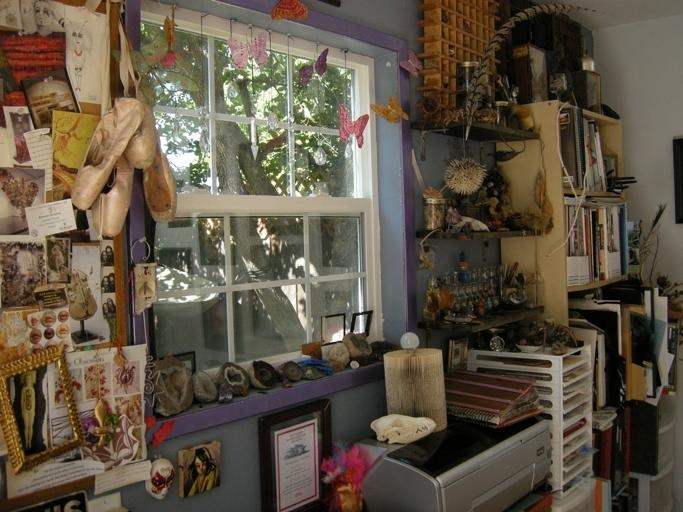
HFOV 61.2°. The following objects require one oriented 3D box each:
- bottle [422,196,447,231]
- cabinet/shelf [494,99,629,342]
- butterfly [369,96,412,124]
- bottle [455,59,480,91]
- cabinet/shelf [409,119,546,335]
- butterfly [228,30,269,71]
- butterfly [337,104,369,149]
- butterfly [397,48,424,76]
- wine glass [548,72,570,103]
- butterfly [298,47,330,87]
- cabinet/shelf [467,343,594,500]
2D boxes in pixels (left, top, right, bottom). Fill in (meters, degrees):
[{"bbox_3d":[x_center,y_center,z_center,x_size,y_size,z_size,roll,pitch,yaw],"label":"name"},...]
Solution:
[{"bbox_3d":[0.463,-0.214,2.952,0.130,0.222,0.150,0,2,25],"label":"bottle"},{"bbox_3d":[1.238,-0.177,3.310,0.392,1.385,1.408,0,2,30],"label":"cabinet/shelf"},{"bbox_3d":[0.226,-0.704,2.778,0.176,0.133,0.171,-3,3,19],"label":"butterfly"},{"bbox_3d":[0.635,-0.912,2.931,0.108,0.166,0.061,-2,3,44],"label":"bottle"},{"bbox_3d":[0.799,-0.175,3.111,0.914,0.877,0.315,-15,23,-41],"label":"cabinet/shelf"},{"bbox_3d":[-0.390,-0.875,2.444,0.211,0.132,0.118,-5,3,-27],"label":"butterfly"},{"bbox_3d":[0.051,-0.620,2.782,0.201,0.228,0.058,5,-11,-30],"label":"butterfly"},{"bbox_3d":[0.344,-0.946,2.817,0.082,0.137,0.163,-3,3,29],"label":"butterfly"},{"bbox_3d":[1.380,-1.067,3.638,0.108,0.182,0.290,-3,3,23],"label":"wine glass"},{"bbox_3d":[-0.126,-0.876,2.633,0.145,0.128,0.205,-4,3,-1],"label":"butterfly"},{"bbox_3d":[0.919,0.800,3.229,0.655,0.992,0.672,-4,-5,37],"label":"cabinet/shelf"}]
